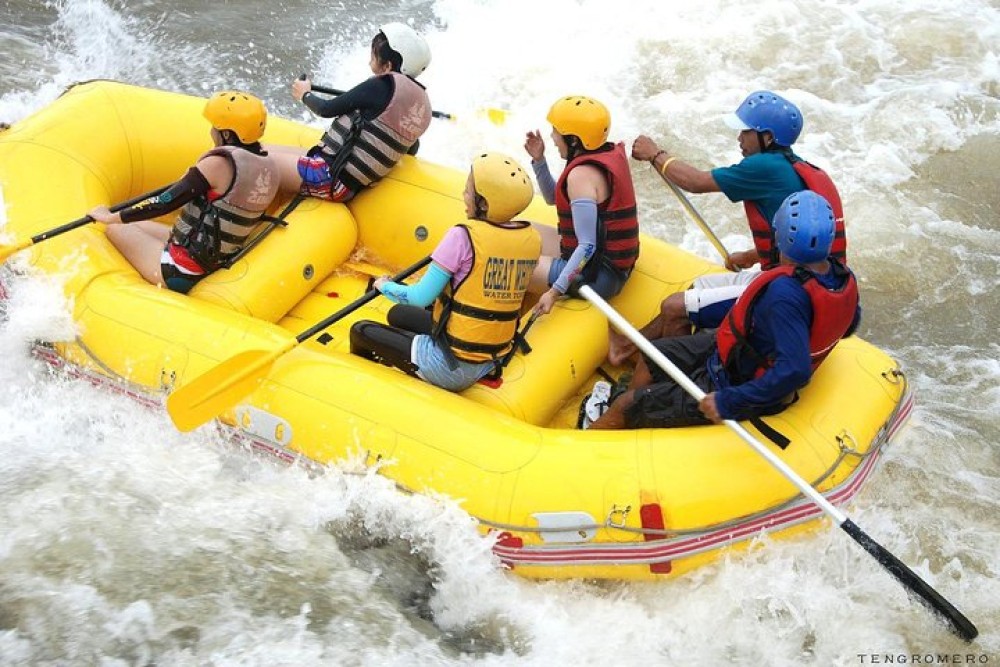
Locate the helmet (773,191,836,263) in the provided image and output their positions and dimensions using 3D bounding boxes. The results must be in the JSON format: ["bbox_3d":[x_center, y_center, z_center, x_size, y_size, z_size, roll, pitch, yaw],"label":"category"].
[{"bbox_3d":[1.618,-0.571,5.487,0.309,0.322,0.380,5,78,6],"label":"helmet"}]

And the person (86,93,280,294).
[{"bbox_3d":[-1.998,-0.812,6.675,1.035,1.523,0.937,15,7,9],"label":"person"}]

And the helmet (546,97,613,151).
[{"bbox_3d":[0.477,-1.336,6.213,0.406,0.303,0.301,1,37,5],"label":"helmet"}]

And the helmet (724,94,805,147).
[{"bbox_3d":[1.747,-1.300,6.197,0.359,0.258,0.518,-3,16,-28],"label":"helmet"}]

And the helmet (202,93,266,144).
[{"bbox_3d":[-1.646,-1.371,6.333,0.400,0.287,0.286,3,32,-2],"label":"helmet"}]

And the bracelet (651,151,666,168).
[{"bbox_3d":[1.010,-1.107,6.405,0.034,0.089,0.093,46,62,-15],"label":"bracelet"}]

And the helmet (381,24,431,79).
[{"bbox_3d":[-0.658,-1.903,6.840,0.404,0.306,0.307,12,15,-6],"label":"helmet"}]

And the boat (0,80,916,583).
[{"bbox_3d":[-0.501,0.265,6.083,5.563,0.932,2.947,20,48,15],"label":"boat"}]

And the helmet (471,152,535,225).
[{"bbox_3d":[0.001,-0.810,5.728,0.332,0.345,0.279,2,44,-11],"label":"helmet"}]

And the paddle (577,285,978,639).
[{"bbox_3d":[1.498,0.804,5.793,2.913,0.232,0.197,42,36,19],"label":"paddle"}]
